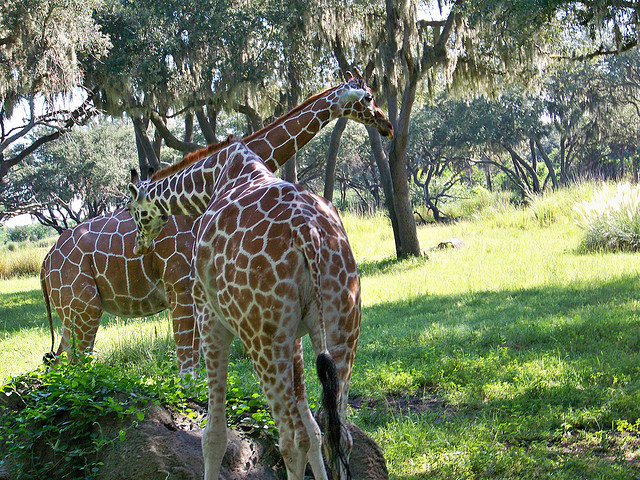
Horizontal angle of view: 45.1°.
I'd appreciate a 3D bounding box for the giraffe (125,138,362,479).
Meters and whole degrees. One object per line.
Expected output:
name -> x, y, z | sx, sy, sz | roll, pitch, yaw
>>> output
giraffe -> -1.020, 1.024, 11.388 | 3.057, 4.706, 1.566 | 1, 8, 31
